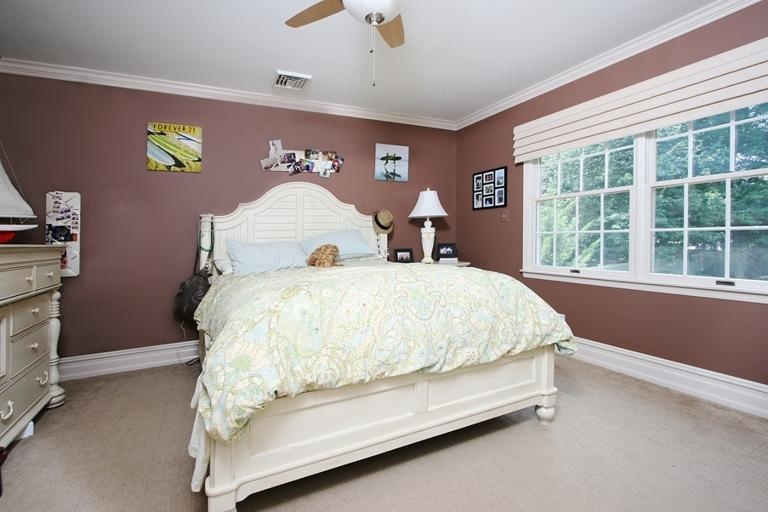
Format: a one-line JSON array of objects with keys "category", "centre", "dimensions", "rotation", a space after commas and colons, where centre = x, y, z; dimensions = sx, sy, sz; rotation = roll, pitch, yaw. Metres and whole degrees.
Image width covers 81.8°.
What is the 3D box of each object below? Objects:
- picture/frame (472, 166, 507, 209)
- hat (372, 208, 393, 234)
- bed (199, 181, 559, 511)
[{"category": "picture/frame", "centre": [1.307, -0.853, 5.515], "dimensions": [0.043, 0.565, 0.586], "rotation": [0, 1, -33]}, {"category": "hat", "centre": [-0.049, -0.413, 5.634], "dimensions": [0.242, 0.301, 0.114], "rotation": [-21, 1, -27]}, {"category": "bed", "centre": [-0.635, 0.499, 4.450], "dimensions": [2.379, 2.110, 3.232], "rotation": [-1, -1, -25]}]
